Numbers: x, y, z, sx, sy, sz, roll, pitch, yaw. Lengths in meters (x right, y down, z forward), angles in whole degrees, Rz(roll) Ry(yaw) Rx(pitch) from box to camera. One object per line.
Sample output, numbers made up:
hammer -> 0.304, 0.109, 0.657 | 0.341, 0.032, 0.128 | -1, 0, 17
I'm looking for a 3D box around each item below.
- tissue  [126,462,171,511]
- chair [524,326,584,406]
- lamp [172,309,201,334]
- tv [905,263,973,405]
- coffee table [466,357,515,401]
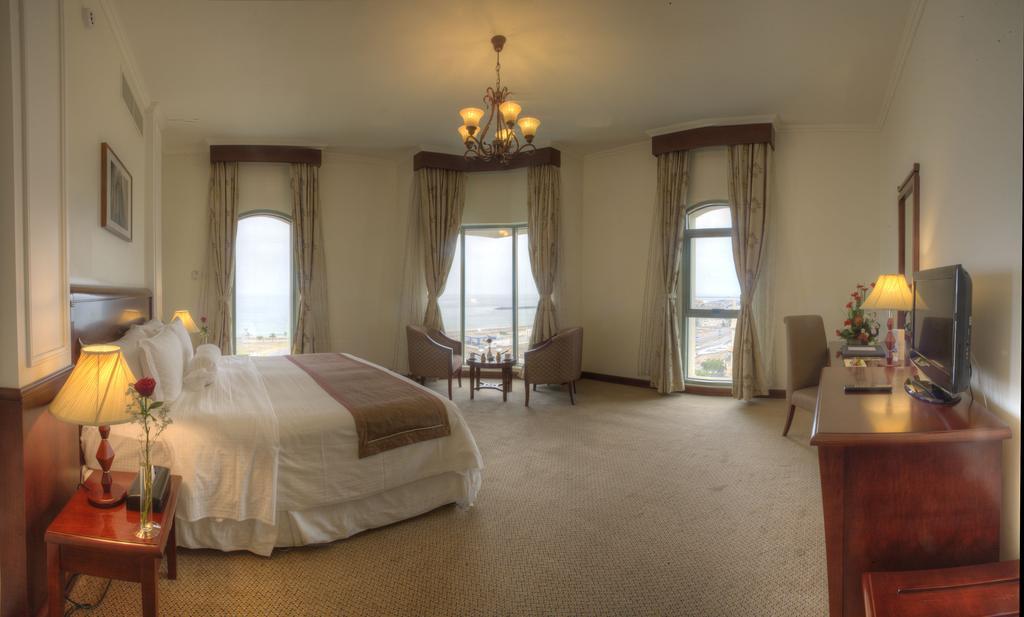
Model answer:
tissue  -> -2.772, 1.368, 5.088 | 0.243, 0.154, 0.451 | 2, 12, -15
chair -> 0.609, 0.753, 9.315 | 0.918, 1.247, 0.940 | 1, -2, 6
lamp -> -3.923, 0.152, 8.027 | 0.243, 0.177, 0.267 | -6, 16, 1
tv -> 3.301, 0.219, 5.135 | 0.386, 1.077, 1.122 | 1, -2, 20
coffee table -> -0.293, 0.982, 9.492 | 0.601, 0.463, 0.616 | 0, -1, -3
